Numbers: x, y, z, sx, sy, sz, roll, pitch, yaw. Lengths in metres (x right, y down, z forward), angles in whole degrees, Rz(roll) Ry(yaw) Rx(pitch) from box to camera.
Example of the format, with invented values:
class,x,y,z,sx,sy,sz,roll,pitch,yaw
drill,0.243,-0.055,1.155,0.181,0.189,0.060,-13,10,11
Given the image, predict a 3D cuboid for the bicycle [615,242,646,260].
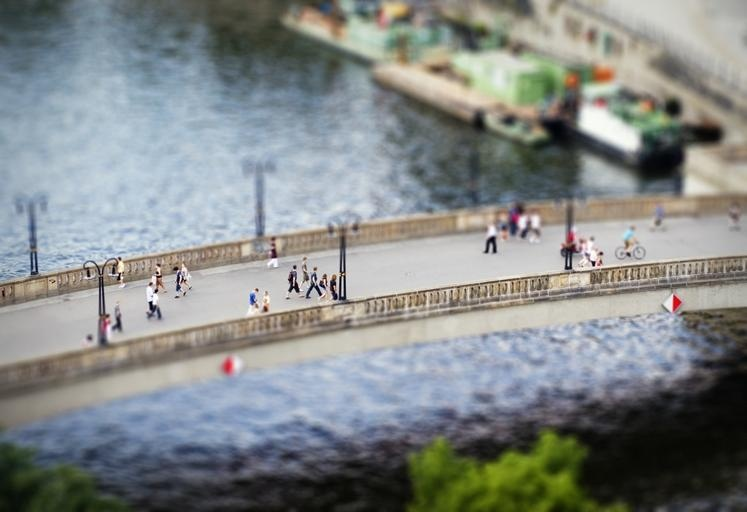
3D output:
class,x,y,z,sx,sy,sz,roll,pitch,yaw
bicycle,10.909,-0.096,64.788,1.339,0.673,0.605,-3,12,-9
